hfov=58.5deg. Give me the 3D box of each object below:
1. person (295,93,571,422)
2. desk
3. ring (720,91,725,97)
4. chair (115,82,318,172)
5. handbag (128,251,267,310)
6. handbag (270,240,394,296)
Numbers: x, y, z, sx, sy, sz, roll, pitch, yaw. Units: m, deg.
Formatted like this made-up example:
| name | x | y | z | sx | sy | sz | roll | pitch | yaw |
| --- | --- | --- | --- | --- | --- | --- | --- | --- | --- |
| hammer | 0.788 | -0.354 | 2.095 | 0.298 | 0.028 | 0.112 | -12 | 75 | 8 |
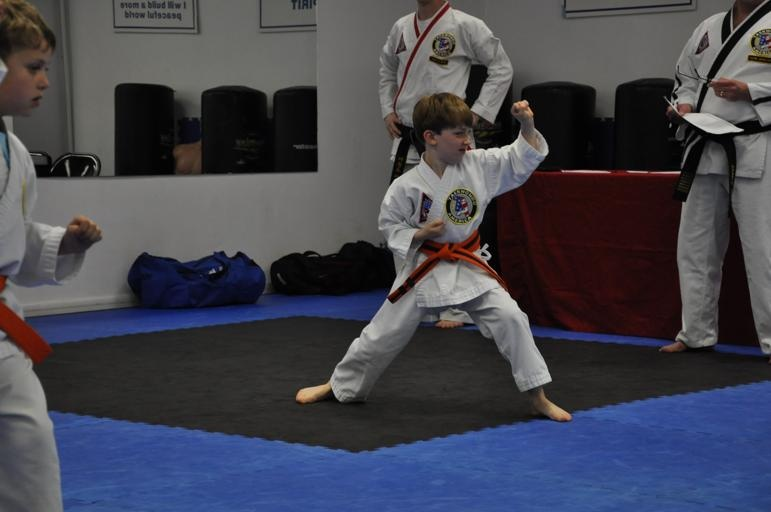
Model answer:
| name | x | y | z | sx | sy | sz | roll | pitch | yaw |
| --- | --- | --- | --- | --- | --- | --- | --- | --- | --- |
| person | 0.239 | -0.014 | 3.153 | 1.024 | 1.445 | 0.313 | 1 | 7 | 14 |
| desk | 2.064 | -0.071 | 5.247 | 1.323 | 1.112 | 2.202 | -4 | 4 | -23 |
| ring | 1.900 | -0.911 | 3.874 | 0.029 | 0.015 | 0.040 | 2 | 1 | 14 |
| chair | -1.436 | -1.114 | 6.326 | 1.956 | 0.838 | 0.476 | 0 | -2 | -4 |
| handbag | -1.559 | 0.150 | 5.785 | 0.801 | 0.312 | 0.533 | -1 | 3 | -22 |
| handbag | -0.512 | 0.067 | 6.533 | 0.809 | 0.329 | 0.588 | -4 | -1 | -13 |
